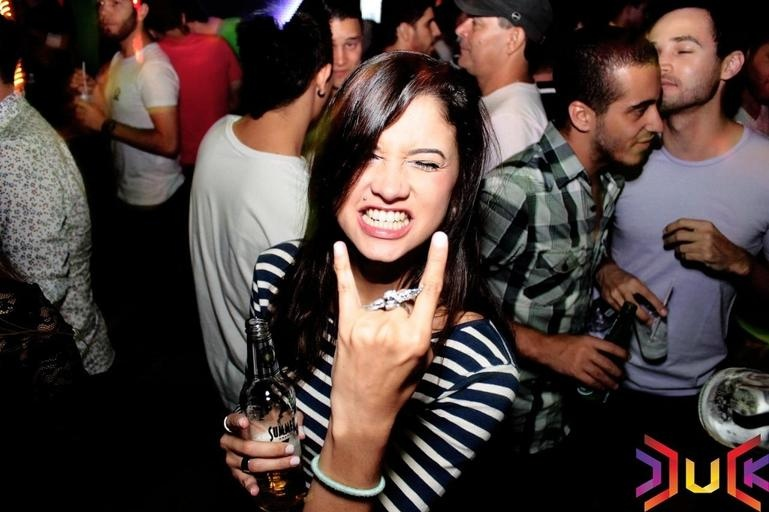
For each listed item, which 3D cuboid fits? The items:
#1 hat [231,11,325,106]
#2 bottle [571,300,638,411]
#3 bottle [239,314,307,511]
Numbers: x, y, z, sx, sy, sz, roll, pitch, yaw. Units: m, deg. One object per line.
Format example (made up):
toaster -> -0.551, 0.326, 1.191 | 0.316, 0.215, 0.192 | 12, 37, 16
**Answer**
hat -> -0.584, -1.156, 3.425 | 0.549, 0.544, 0.412 | -1, 32, -16
bottle -> 1.326, 0.568, 3.513 | 0.182, 0.721, 0.164 | 26, -6, 46
bottle -> -0.500, 0.730, 2.634 | 0.303, 0.798, 0.467 | 0, 31, -15
